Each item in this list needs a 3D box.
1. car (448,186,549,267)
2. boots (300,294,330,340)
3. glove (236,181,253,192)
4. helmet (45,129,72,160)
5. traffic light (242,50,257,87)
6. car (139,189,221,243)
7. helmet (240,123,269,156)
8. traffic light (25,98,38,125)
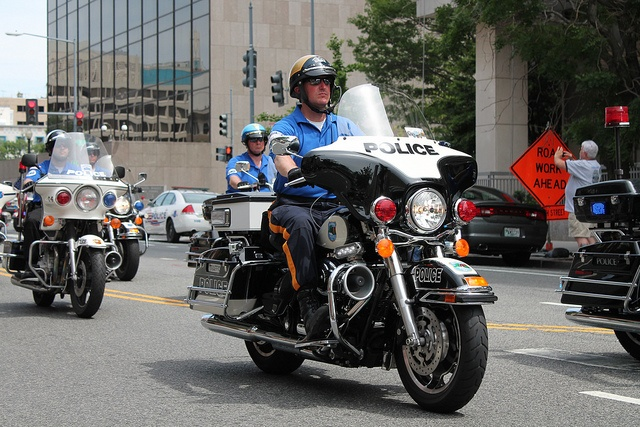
[{"bbox_3d":[4.559,0.336,17.052,2.143,1.544,4.053,2,2,-19],"label":"car"},{"bbox_3d":[-0.040,0.893,5.980,0.217,0.157,0.373,-28,40,3],"label":"boots"},{"bbox_3d":[-0.827,-0.294,7.516,0.141,0.121,0.375,5,0,-13],"label":"glove"},{"bbox_3d":[-4.073,-1.112,10.716,0.353,0.380,0.402,0,-3,-16],"label":"helmet"},{"bbox_3d":[-2.913,-6.070,28.530,0.534,1.606,1.047,0,4,0],"label":"traffic light"},{"bbox_3d":[-5.314,0.157,27.753,2.606,1.803,5.664,0,3,-31],"label":"car"},{"bbox_3d":[-0.933,-1.105,9.926,0.361,0.380,0.405,-1,2,-28],"label":"helmet"},{"bbox_3d":[-13.922,-4.939,33.418,0.506,1.168,1.235,-2,5,-23],"label":"traffic light"}]
